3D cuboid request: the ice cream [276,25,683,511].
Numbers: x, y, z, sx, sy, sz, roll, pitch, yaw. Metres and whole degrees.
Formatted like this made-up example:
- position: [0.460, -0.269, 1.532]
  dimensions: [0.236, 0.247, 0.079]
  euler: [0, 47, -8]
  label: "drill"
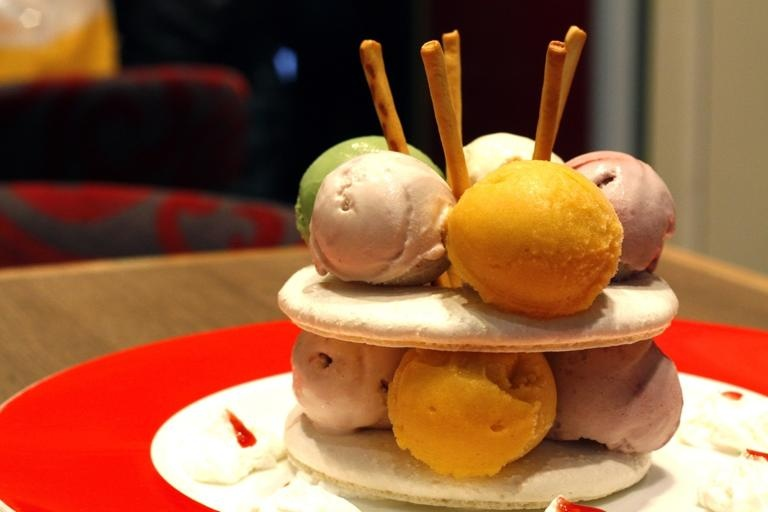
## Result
- position: [0.268, -0.026, 1.870]
  dimensions: [0.846, 0.961, 0.875]
  euler: [14, 13, 43]
  label: "ice cream"
